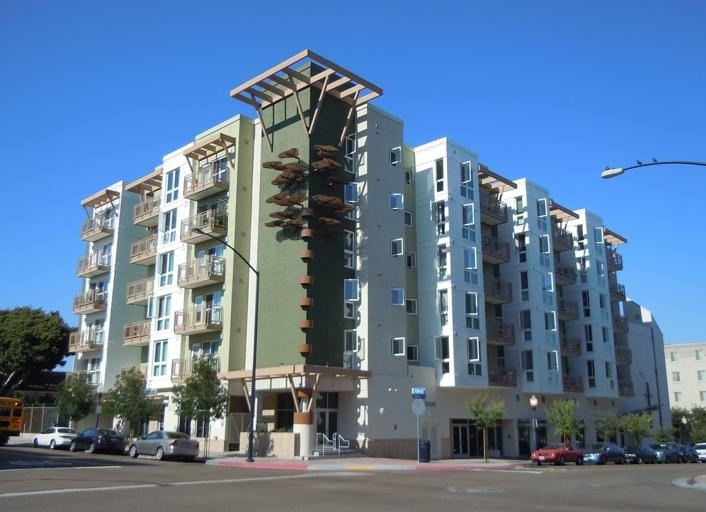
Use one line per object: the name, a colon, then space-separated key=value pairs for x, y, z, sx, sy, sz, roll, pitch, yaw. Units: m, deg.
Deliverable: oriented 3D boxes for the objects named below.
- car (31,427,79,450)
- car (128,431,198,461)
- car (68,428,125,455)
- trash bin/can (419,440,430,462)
car: x=-22.029 y=13.420 z=48.912 sx=4.750 sy=1.168 sz=2.246 roll=-11 pitch=-18 yaw=40
car: x=-11.959 y=11.873 z=41.174 sx=4.561 sy=1.213 sz=2.038 roll=-8 pitch=-19 yaw=34
car: x=-17.395 y=12.636 z=44.711 sx=4.010 sy=1.760 sz=1.969 roll=-13 pitch=-23 yaw=32
trash bin/can: x=4.783 y=13.110 z=44.065 sx=0.711 sy=1.406 sz=1.281 roll=-2 pitch=-20 yaw=4
